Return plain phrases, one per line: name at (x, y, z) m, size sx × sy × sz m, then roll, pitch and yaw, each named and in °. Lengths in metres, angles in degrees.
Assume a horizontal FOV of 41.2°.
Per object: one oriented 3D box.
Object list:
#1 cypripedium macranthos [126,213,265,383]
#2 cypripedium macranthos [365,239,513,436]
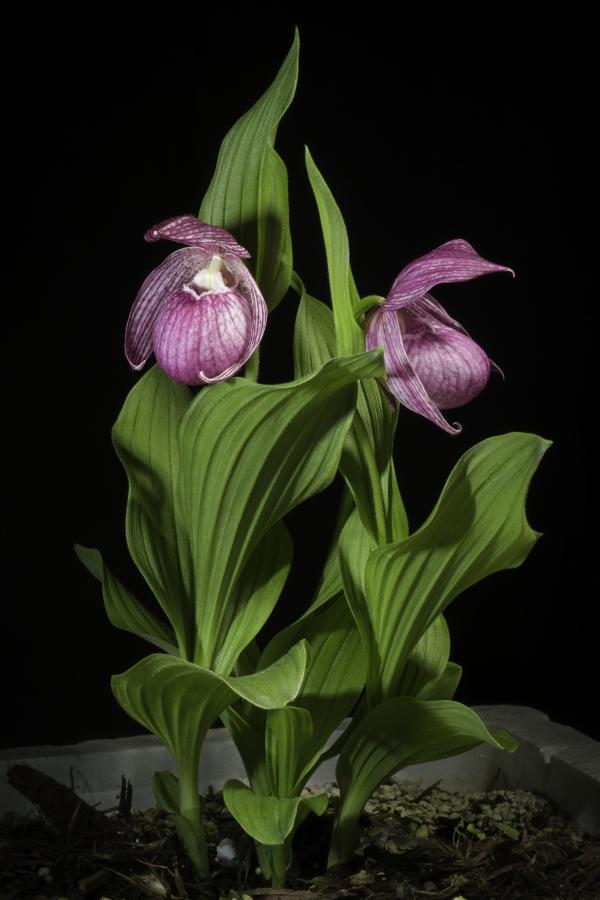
cypripedium macranthos at (-0.101, -0.151, 0.825) m, size 0.138 × 0.171 × 0.103 m, roll 11°, pitch 30°, yaw 15°
cypripedium macranthos at (0.145, -0.127, 0.882) m, size 0.141 × 0.196 × 0.136 m, roll 7°, pitch 36°, yaw 28°
